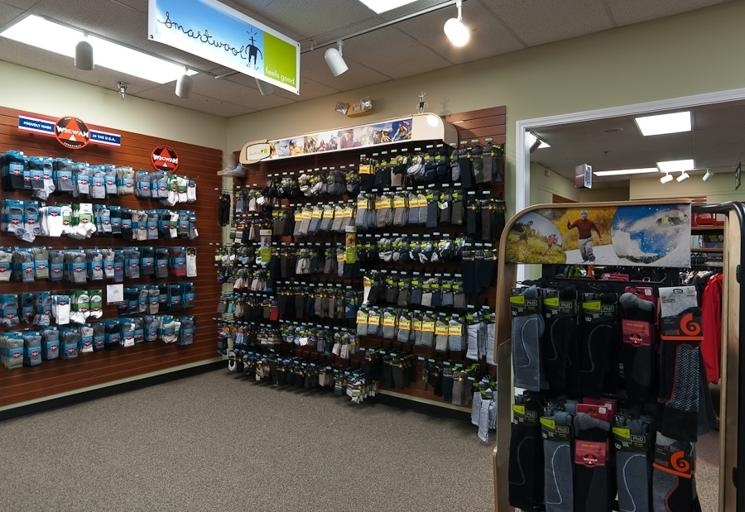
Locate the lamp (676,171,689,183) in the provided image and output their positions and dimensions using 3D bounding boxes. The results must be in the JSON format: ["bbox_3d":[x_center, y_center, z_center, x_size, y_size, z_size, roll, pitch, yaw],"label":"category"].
[{"bbox_3d":[7.008,-1.784,11.629,0.219,0.232,0.261,-8,13,-42],"label":"lamp"}]

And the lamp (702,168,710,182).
[{"bbox_3d":[7.189,-1.740,11.043,0.154,0.240,0.251,-1,-12,6],"label":"lamp"}]

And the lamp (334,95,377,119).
[{"bbox_3d":[-0.271,-2.125,7.338,0.608,0.256,0.253,5,10,26],"label":"lamp"}]

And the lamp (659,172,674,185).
[{"bbox_3d":[6.749,-1.800,11.928,0.211,0.201,0.381,15,11,26],"label":"lamp"}]

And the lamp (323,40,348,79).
[{"bbox_3d":[-0.451,-2.334,6.041,0.214,0.441,0.493,-1,9,-5],"label":"lamp"}]

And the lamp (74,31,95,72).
[{"bbox_3d":[-3.210,-2.257,5.720,0.164,0.307,0.200,4,10,22],"label":"lamp"}]

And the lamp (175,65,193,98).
[{"bbox_3d":[-2.457,-2.264,6.655,0.184,0.394,0.369,-3,10,-17],"label":"lamp"}]
